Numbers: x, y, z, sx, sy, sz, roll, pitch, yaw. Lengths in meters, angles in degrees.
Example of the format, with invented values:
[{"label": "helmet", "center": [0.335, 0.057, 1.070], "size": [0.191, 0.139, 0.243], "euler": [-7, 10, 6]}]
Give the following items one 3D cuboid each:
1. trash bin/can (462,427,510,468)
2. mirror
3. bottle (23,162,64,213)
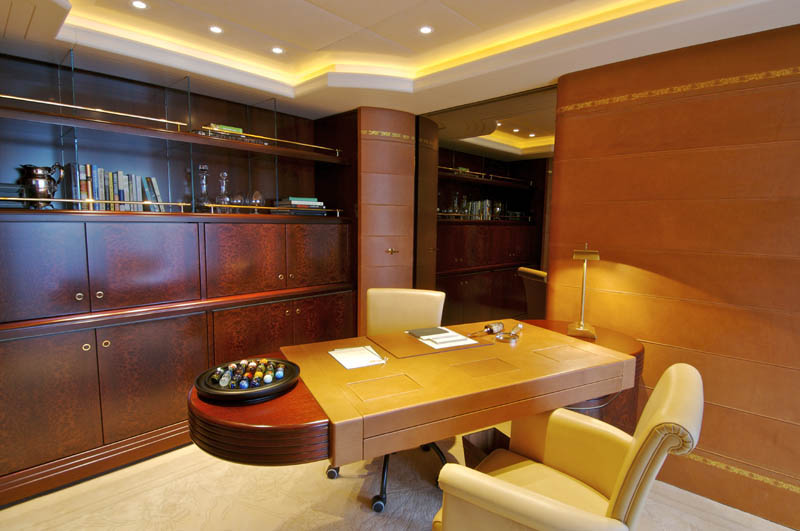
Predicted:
[{"label": "trash bin/can", "center": [0.679, 1.414, 4.102], "size": [0.338, 0.198, 0.338], "euler": [-1, 0, -42]}, {"label": "mirror", "center": [1.202, -0.559, 6.947], "size": [1.483, 2.349, 0.771], "euler": [3, -15, 0]}, {"label": "bottle", "center": [-2.868, -0.639, 4.167], "size": [0.288, 0.363, 0.581], "euler": [-5, 8, -28]}]
